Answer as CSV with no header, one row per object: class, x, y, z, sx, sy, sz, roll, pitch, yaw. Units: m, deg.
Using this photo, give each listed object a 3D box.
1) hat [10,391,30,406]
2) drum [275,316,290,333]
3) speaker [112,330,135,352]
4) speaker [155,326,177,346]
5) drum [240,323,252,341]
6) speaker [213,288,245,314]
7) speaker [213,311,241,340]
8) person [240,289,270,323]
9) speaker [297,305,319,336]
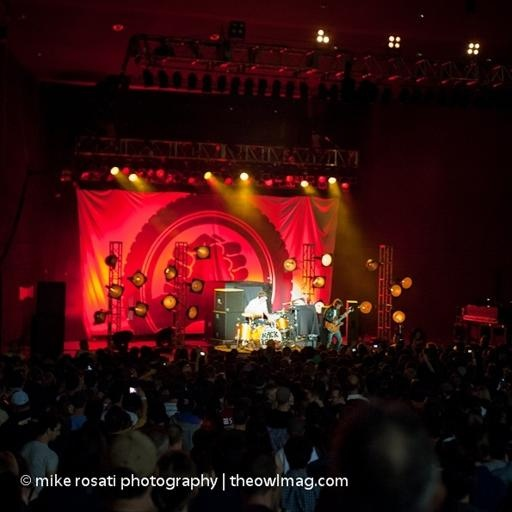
hat,-2.550,1.532,6.120,0.113,0.163,0.046,5,-15,-26
drum,0.714,1.890,15.741,0.388,0.401,0.381,-7,29,-6
speaker,-2.937,1.838,12.432,0.514,0.489,0.531,1,-7,-18
speaker,-2.553,2.242,15.876,0.574,0.579,0.449,19,-13,-8
drum,-0.285,2.087,15.711,0.374,0.653,0.383,2,-6,0
speaker,-0.806,1.301,16.860,0.731,0.710,0.722,1,-2,-36
speaker,-0.916,2.030,16.787,0.808,0.822,0.782,4,-1,-8
person,0.078,1.438,16.287,0.669,0.830,1.294,8,-9,-42
speaker,1.505,1.905,16.991,0.777,0.986,0.797,-2,-1,4
